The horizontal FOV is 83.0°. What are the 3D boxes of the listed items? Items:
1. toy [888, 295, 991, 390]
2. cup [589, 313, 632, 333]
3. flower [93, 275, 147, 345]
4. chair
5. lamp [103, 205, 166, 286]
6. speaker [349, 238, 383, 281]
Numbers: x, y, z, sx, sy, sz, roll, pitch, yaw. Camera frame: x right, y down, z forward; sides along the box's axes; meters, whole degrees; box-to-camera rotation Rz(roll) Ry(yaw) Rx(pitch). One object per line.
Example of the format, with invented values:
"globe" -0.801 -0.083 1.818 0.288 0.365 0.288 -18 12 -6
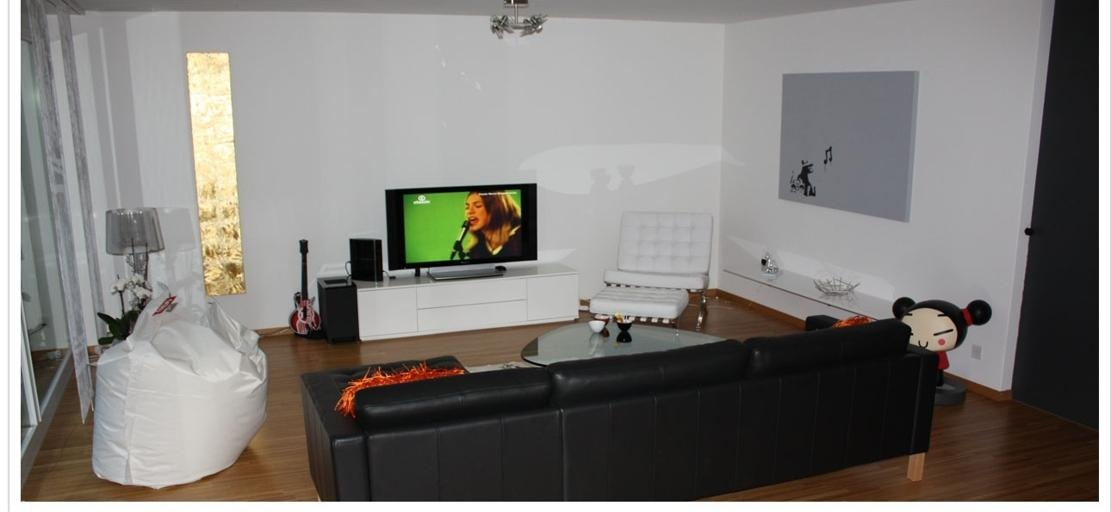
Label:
"toy" 4.212 0.949 6.830 1.364 1.108 0.586 0 -2 44
"cup" 0.653 0.818 7.517 0.524 0.134 0.262 0 6 10
"flower" -5.240 0.664 7.801 0.544 0.729 0.698 0 -2 40
"chair" 1.391 0.275 8.893 1.477 1.222 1.834 3 25 22
"lamp" -5.335 -0.126 7.935 0.578 0.977 0.583 -8 15 -32
"speaker" -2.593 0.047 8.565 0.429 0.597 0.189 -2 14 -7
